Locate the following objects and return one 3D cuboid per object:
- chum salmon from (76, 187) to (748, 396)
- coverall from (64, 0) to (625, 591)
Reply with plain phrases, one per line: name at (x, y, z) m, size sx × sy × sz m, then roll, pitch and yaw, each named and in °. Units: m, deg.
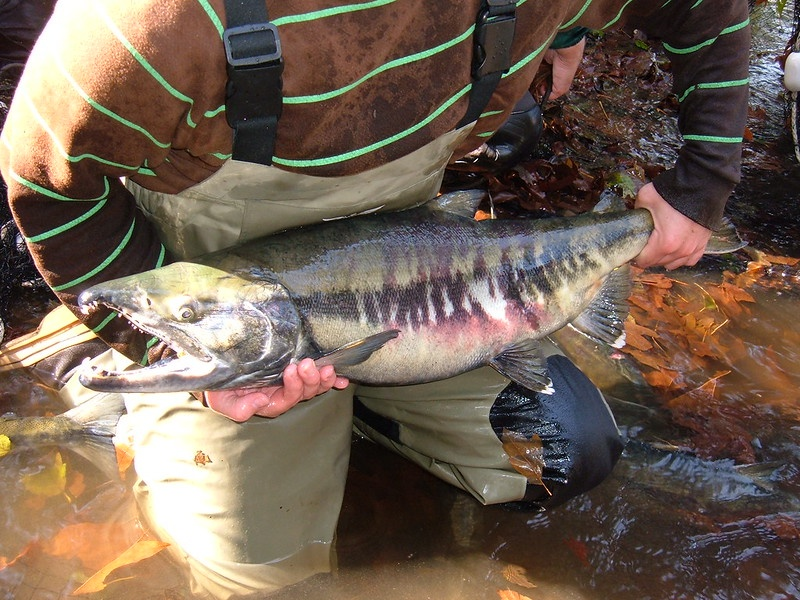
chum salmon at (0.279, -0.058, 3.022) m, size 3.029 × 0.708 × 0.814 m, roll -8°, pitch 11°, yaw -15°
coverall at (-0.549, 0.110, 3.514) m, size 2.519 × 2.504 × 1.104 m, roll -48°, pitch 46°, yaw -13°
